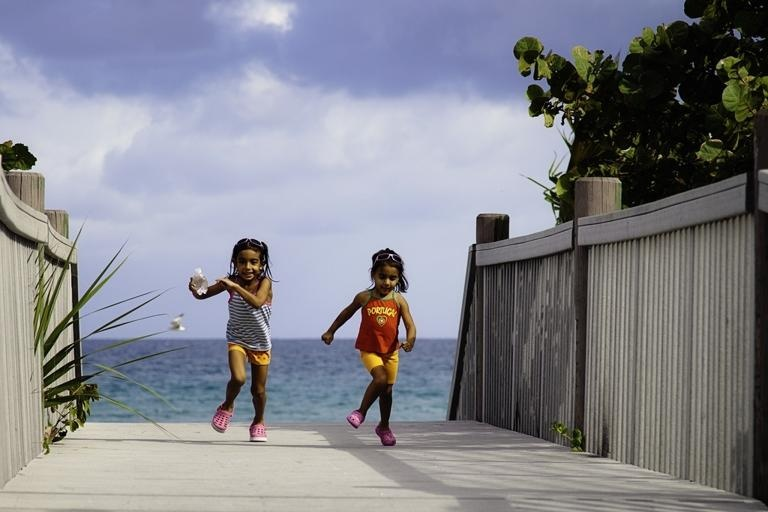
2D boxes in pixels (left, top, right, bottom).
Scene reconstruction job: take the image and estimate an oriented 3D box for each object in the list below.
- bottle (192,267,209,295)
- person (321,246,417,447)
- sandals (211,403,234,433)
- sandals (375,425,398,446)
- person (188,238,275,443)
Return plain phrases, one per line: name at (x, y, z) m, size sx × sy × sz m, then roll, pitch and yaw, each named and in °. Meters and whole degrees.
bottle at (-1.691, 0.240, 12.370) m, size 0.138 × 0.252 × 0.173 m, roll 0°, pitch 2°, yaw -4°
person at (-0.096, 0.819, 12.377) m, size 0.741 × 1.766 × 0.905 m, roll 0°, pitch 2°, yaw 1°
sandals at (-1.518, 1.503, 12.618) m, size 0.148 × 0.148 × 0.385 m, roll -28°, pitch 12°, yaw -2°
sandals at (0.026, 1.639, 12.281) m, size 0.100 × 0.108 × 0.251 m, roll 4°, pitch 0°, yaw -18°
person at (-1.350, 0.759, 12.491) m, size 0.617 × 1.836 × 0.642 m, roll 1°, pitch 2°, yaw 12°
